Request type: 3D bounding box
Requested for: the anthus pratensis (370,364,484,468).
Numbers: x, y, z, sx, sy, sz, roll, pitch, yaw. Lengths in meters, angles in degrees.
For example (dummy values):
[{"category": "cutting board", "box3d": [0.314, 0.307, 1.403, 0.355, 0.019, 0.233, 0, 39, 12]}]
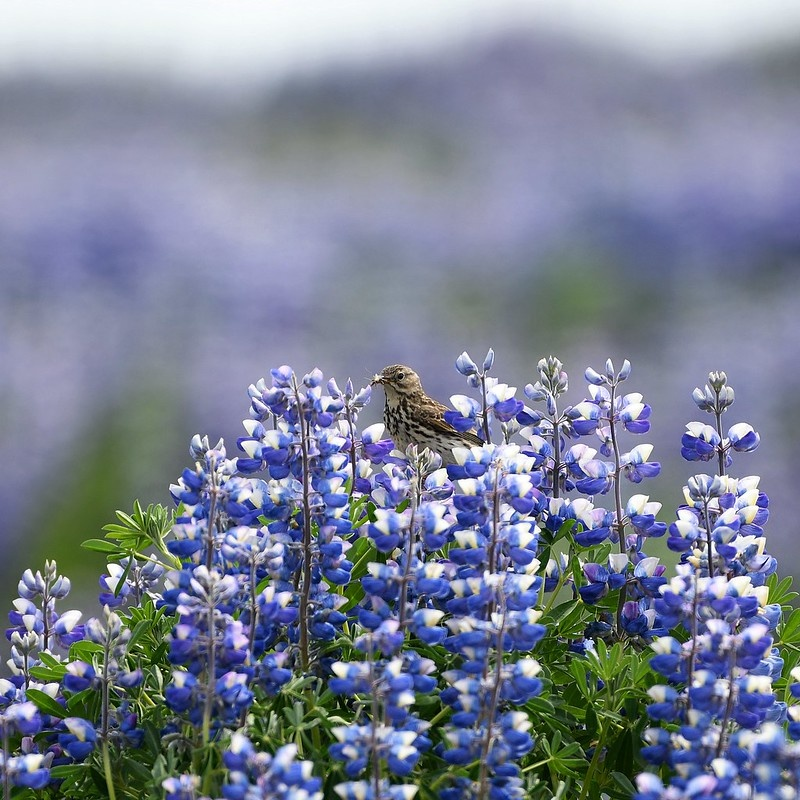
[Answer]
[{"category": "anthus pratensis", "box3d": [0.060, 0.037, 3.532, 0.149, 0.248, 0.341, -2, 3, 41]}]
